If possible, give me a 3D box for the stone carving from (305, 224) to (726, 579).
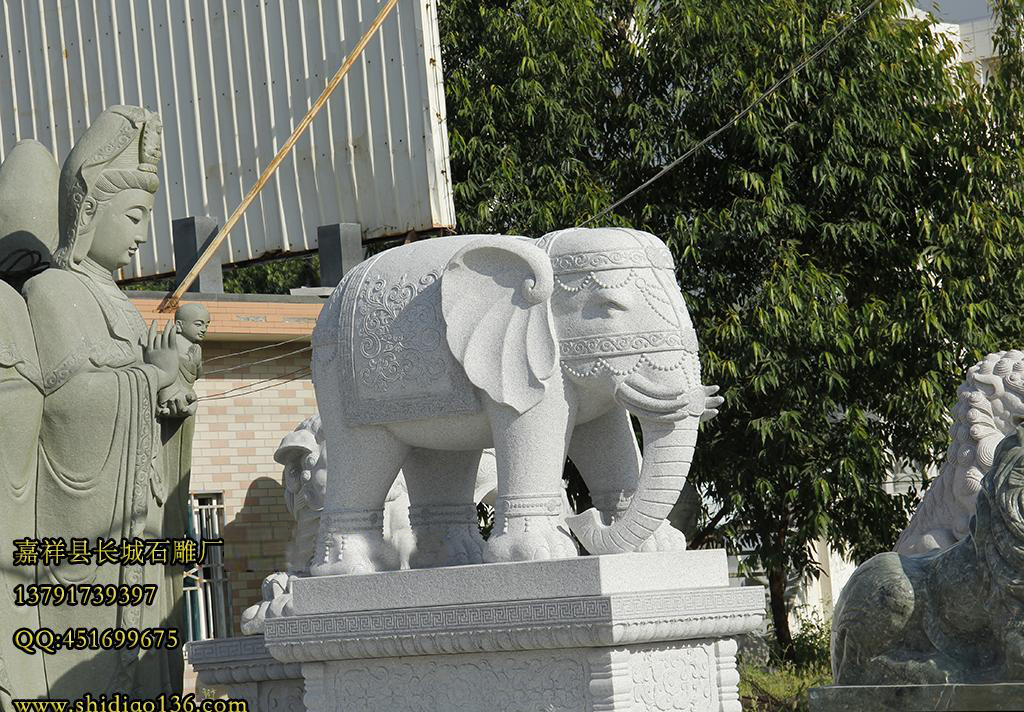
[{"bbox_3d":[-0.088,0.294,18.131,2.730,2.486,1.872,-3,5,25],"label":"stone carving"}]
